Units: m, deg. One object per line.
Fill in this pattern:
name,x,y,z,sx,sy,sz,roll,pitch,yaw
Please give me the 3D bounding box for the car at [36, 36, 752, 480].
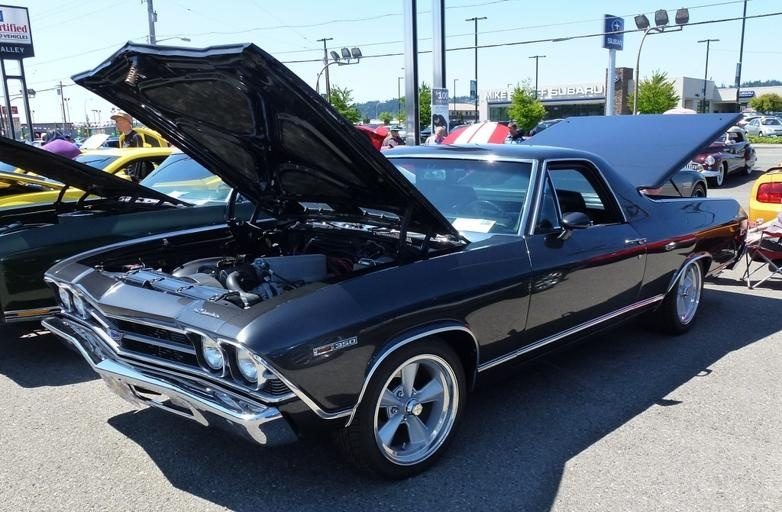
car,0.503,-0.200,5.332,5.689,1.781,2.921,-5,8,-35
